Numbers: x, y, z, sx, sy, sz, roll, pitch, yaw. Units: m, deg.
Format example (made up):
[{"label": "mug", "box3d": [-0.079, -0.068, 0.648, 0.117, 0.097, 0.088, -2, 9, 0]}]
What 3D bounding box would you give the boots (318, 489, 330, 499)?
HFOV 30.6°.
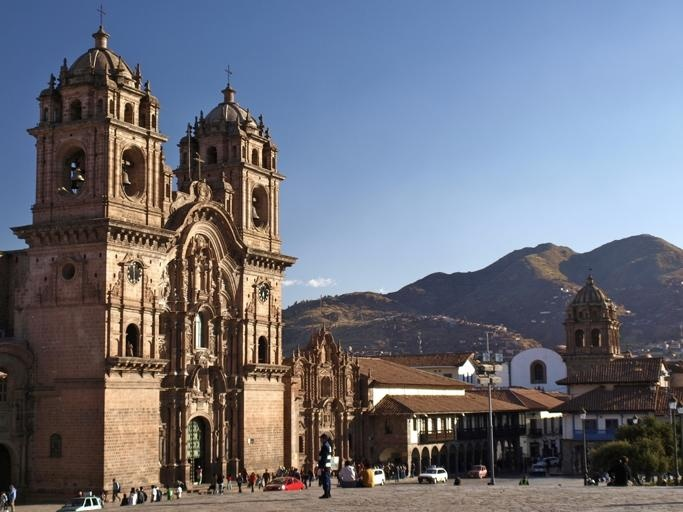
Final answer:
[{"label": "boots", "box3d": [-0.892, 12.854, 67.617, 0.706, 0.481, 0.346, 2, -12, 22]}]
